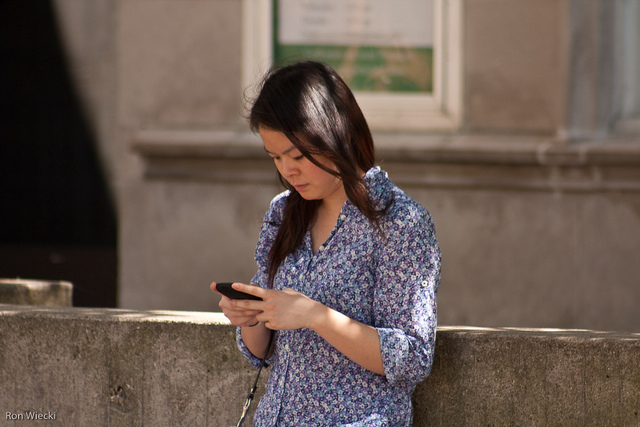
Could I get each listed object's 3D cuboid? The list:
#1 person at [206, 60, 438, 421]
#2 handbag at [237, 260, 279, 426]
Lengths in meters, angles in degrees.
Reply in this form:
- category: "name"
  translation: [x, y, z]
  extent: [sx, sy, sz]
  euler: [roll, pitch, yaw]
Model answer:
- category: "person"
  translation: [0.080, 0.195, 6.425]
  extent: [1.086, 1.547, 1.284]
  euler: [1, 38, 5]
- category: "handbag"
  translation: [-0.332, 0.652, 6.614]
  extent: [0.119, 0.205, 1.018]
  euler: [11, 81, 14]
